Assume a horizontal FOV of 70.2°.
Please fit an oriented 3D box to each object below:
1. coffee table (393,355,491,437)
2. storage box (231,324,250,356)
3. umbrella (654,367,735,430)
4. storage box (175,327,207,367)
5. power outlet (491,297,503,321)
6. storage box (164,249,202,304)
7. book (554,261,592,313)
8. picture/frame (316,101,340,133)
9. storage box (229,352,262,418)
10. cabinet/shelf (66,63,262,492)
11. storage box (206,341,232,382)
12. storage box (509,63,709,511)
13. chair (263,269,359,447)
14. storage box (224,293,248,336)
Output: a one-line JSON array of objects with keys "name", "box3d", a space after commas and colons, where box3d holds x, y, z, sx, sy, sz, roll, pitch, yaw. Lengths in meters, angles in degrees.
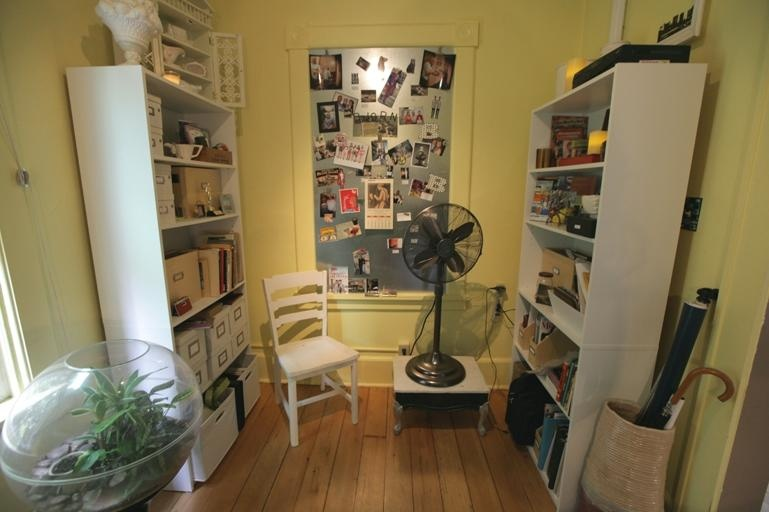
[{"name": "coffee table", "box3d": [0.379, 0.980, 3.823, 0.629, 0.423, 0.362, 0, 13, 0]}, {"name": "storage box", "box3d": [-1.017, 0.584, 3.859, 0.145, 0.184, 0.254, 0, 3, 0]}, {"name": "umbrella", "box3d": [1.665, 0.740, 2.880, 0.254, 0.325, 0.327, 12, 18, 42]}, {"name": "storage box", "box3d": [-1.182, 0.554, 3.361, 0.167, 0.218, 0.299, -2, 2, 9]}, {"name": "power outlet", "box3d": [0.848, 0.410, 4.113, 0.084, 0.124, 0.044, 2, -1, 19]}, {"name": "storage box", "box3d": [-1.243, 0.133, 3.363, 0.097, 0.293, 0.301, -3, 5, 5]}, {"name": "book", "box3d": [1.105, 0.166, 3.189, 0.230, 0.324, 0.321, 1, 8, 5]}, {"name": "picture/frame", "box3d": [-0.405, -1.004, 3.931, 0.188, 0.254, 0.013, 0, 9, -2]}, {"name": "storage box", "box3d": [-0.992, 0.911, 3.857, 0.216, 0.297, 0.401, -4, 13, 2]}, {"name": "cabinet/shelf", "box3d": [-1.355, -0.138, 3.494, 0.598, 1.970, 0.975, 5, 14, 19]}, {"name": "storage box", "box3d": [-1.075, 0.682, 3.625, 0.168, 0.204, 0.304, -1, 5, 9]}, {"name": "storage box", "box3d": [1.252, 0.181, 3.360, 0.697, 2.543, 0.938, -4, 14, -15]}, {"name": "chair", "box3d": [-0.524, 0.657, 3.971, 0.628, 1.056, 0.817, -4, 14, -17]}, {"name": "storage box", "box3d": [-1.040, 0.403, 3.796, 0.140, 0.201, 0.264, 1, 10, 4]}]
